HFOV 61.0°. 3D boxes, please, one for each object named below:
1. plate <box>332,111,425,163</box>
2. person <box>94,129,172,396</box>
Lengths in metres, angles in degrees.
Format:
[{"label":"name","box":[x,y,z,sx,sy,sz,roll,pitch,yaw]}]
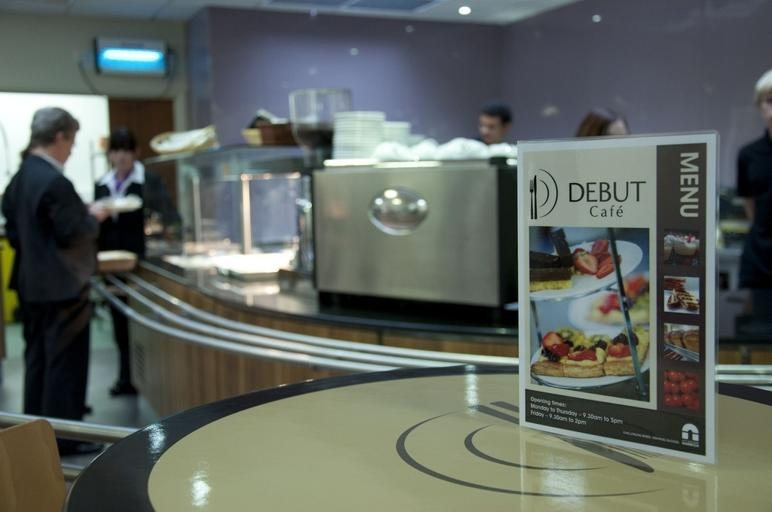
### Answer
[{"label":"plate","box":[-0.015,-0.355,1.948,0.135,0.078,0.227,7,11,41]},{"label":"person","box":[-0.788,0.023,1.997,0.294,0.812,0.248,-1,-8,-12]}]
